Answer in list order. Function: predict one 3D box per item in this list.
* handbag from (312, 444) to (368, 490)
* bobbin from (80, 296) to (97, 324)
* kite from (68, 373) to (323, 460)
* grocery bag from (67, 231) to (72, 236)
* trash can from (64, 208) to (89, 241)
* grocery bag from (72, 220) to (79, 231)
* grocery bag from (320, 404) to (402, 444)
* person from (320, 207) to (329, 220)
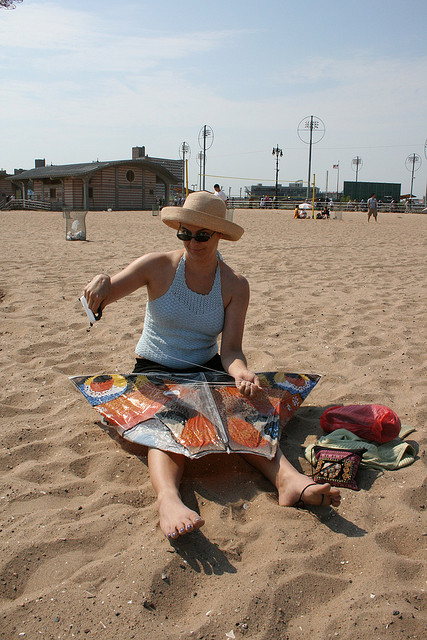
[{"bbox_3d":[0.535,0.613,2.270,0.215,0.134,0.277,5,13,16],"label":"handbag"},{"bbox_3d":[-0.537,-0.041,2.271,0.044,0.112,0.144,-6,14,-24],"label":"bobbin"},{"bbox_3d":[-0.020,0.381,2.403,1.160,0.207,0.749,-3,13,-16],"label":"kite"},{"bbox_3d":[-3.256,-1.957,11.977,0.099,0.089,0.156,-6,15,-28],"label":"grocery bag"},{"bbox_3d":[-3.178,-2.164,12.198,0.449,0.615,0.827,-3,14,-14],"label":"trash can"},{"bbox_3d":[-3.145,-2.150,11.994,0.107,0.185,0.048,5,-1,-4],"label":"grocery bag"},{"bbox_3d":[0.720,0.483,2.570,0.279,0.103,0.192,0,6,36],"label":"grocery bag"},{"bbox_3d":[5.622,-5.368,26.451,0.420,0.497,1.163,16,9,6],"label":"person"}]
